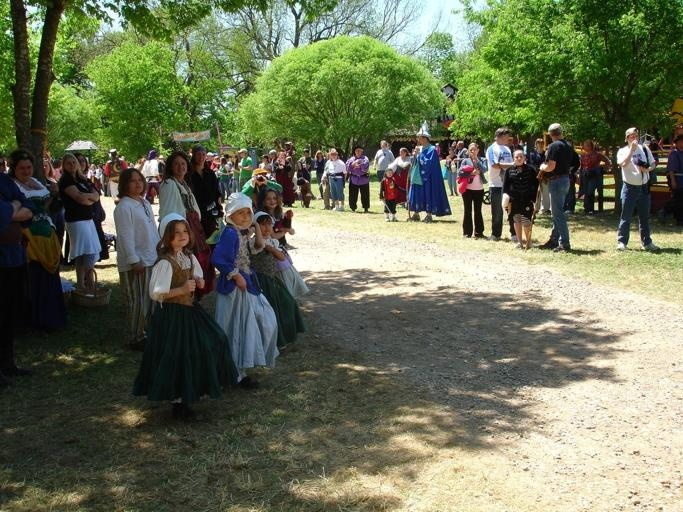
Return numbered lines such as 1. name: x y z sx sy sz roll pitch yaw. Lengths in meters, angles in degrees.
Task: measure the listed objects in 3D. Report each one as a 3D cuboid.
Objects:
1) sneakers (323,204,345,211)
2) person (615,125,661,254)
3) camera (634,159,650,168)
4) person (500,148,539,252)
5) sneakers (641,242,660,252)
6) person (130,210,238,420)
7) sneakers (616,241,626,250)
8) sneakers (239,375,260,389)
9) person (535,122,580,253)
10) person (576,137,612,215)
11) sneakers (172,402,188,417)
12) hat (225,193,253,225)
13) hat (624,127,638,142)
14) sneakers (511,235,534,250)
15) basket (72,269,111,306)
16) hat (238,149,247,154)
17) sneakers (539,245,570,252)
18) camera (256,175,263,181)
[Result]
1. sneakers: -0.247 -1.515 19.226 0.231 0.260 0.667 -4 2 -44
2. person: 5.052 -1.164 10.756 0.710 2.076 0.950 4 16 23
3. camera: 5.027 -1.577 10.509 0.151 0.124 0.249 -41 39 -11
4. person: 3.202 -1.041 11.366 0.617 1.762 0.469 5 17 26
5. sneakers: 5.230 -0.178 10.693 0.319 0.192 0.106 -3 20 16
6. person: -1.391 0.450 5.185 0.780 1.489 0.605 -15 19 -39
7. sneakers: 4.778 -0.192 10.776 0.153 0.130 0.323 -7 -2 27
8. sneakers: -0.892 1.169 5.993 0.206 0.178 0.099 -5 32 -3
9. person: 3.787 -1.259 11.140 0.598 2.186 1.026 2 16 17
10. person: 6.527 -2.112 16.297 0.707 1.846 1.180 3 16 21
11. sneakers: -1.397 1.315 5.377 0.159 0.135 0.091 -1 4 -8
12. hat: -0.923 -0.454 5.834 0.247 0.260 0.272 -7 29 -36
13. hat: 4.870 -2.058 10.563 0.172 0.236 0.343 5 16 25
14. sneakers: 3.327 -0.270 11.632 0.150 0.253 0.275 -25 42 -36
15. basket: -3.500 0.418 8.681 0.595 0.459 0.440 -4 14 -32
16. hat: -3.220 -3.432 20.232 0.379 0.143 0.511 0 4 -6
17. sneakers: 3.735 -0.161 11.104 0.273 0.083 0.594 -13 17 -38
18. camera: -1.380 -1.307 10.343 0.065 0.072 0.069 -3 -17 -12
